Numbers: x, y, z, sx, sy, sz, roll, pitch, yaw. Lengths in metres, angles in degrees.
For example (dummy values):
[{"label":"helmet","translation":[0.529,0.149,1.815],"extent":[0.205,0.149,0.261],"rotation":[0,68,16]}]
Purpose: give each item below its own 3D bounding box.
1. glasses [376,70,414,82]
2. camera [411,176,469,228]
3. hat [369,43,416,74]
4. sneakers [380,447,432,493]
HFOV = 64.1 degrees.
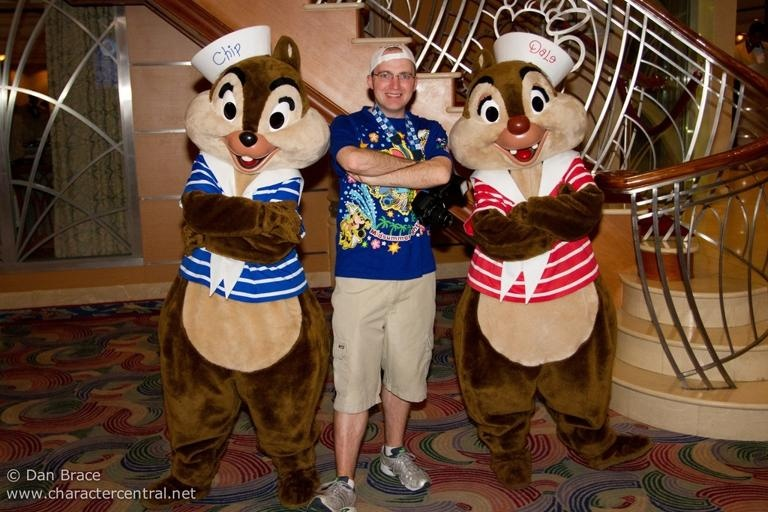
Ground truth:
[{"label":"glasses","translation":[0.051,-0.929,3.128],"extent":[0.208,0.045,0.061],"rotation":[-2,15,-6]},{"label":"camera","translation":[0.270,-0.265,3.062],"extent":[0.196,0.241,0.326],"rotation":[-22,-24,11]},{"label":"hat","translation":[0.036,-1.024,3.185],"extent":[0.147,0.103,0.182],"rotation":[-1,4,1]},{"label":"sneakers","translation":[0.112,1.146,3.356],"extent":[0.316,0.136,0.146],"rotation":[22,24,40]}]
